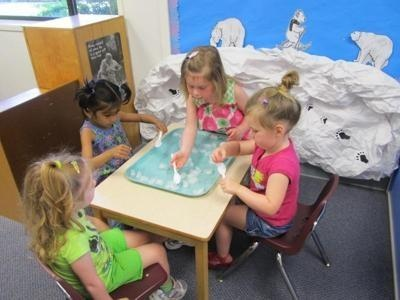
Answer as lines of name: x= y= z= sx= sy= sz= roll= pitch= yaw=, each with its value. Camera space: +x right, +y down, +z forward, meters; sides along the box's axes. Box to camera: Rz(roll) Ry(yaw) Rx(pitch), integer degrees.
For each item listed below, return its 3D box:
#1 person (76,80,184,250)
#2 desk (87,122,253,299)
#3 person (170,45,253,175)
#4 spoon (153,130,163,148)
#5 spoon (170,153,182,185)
person: x=-0.470 y=0.059 z=2.212 sx=0.617 sy=1.055 sz=0.597 roll=5 pitch=27 yaw=14
desk: x=-0.129 y=0.350 z=1.879 sx=0.613 sy=0.627 sz=0.814 roll=17 pitch=44 yaw=21
person: x=0.095 y=-0.253 z=2.041 sx=0.378 sy=0.839 sz=0.637 roll=21 pitch=62 yaw=24
spoon: x=-0.278 y=-0.072 z=2.108 sx=0.091 sy=0.059 sz=0.396 roll=0 pitch=13 yaw=-5
spoon: x=-0.124 y=0.107 z=1.748 sx=0.032 sy=0.023 sz=0.163 roll=-12 pitch=53 yaw=1
